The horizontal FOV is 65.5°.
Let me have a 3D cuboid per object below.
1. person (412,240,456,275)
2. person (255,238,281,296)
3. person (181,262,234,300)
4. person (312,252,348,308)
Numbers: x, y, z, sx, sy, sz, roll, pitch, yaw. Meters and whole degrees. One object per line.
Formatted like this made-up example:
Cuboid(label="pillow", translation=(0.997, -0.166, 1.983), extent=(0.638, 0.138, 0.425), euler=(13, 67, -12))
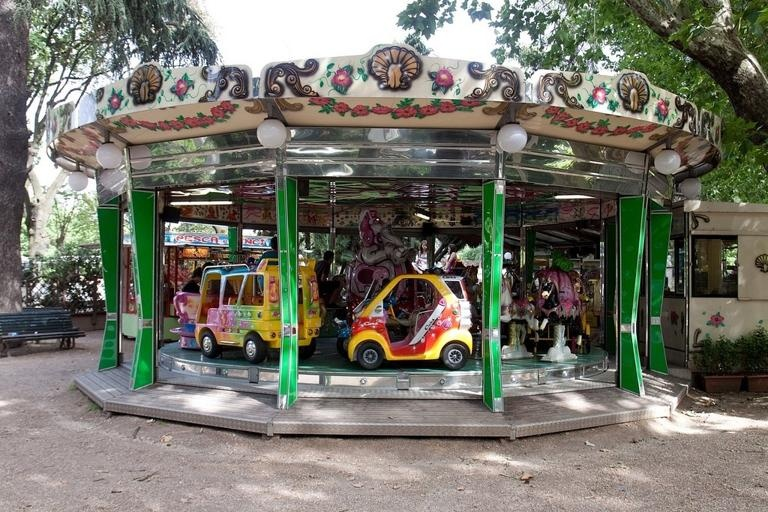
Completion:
Cuboid(label="person", translation=(1.341, 0.114, 16.275), extent=(0.820, 0.709, 1.126), euler=(0, -9, 6))
Cuboid(label="person", translation=(-2.313, 0.120, 11.791), extent=(0.376, 1.134, 1.996), euler=(1, -3, -11))
Cuboid(label="person", translation=(-4.281, 0.502, 13.944), extent=(1.001, 1.058, 0.268), euler=(-7, -24, 37))
Cuboid(label="person", translation=(-1.259, 0.525, 13.836), extent=(0.564, 1.302, 1.042), euler=(0, -2, 17))
